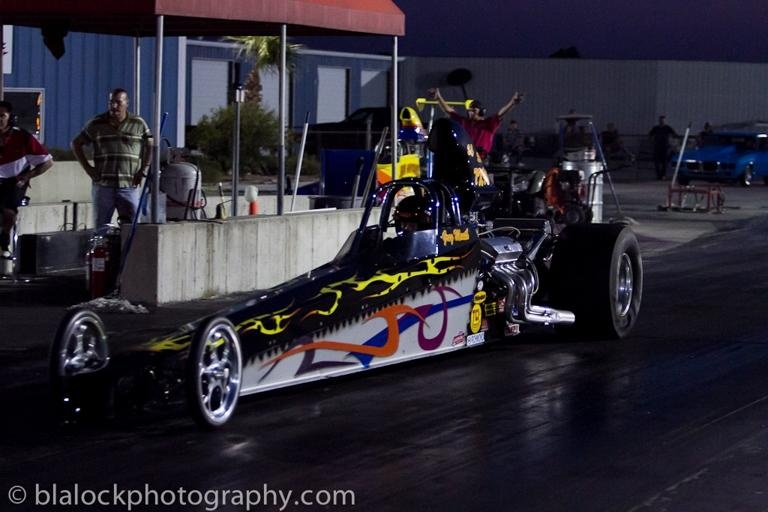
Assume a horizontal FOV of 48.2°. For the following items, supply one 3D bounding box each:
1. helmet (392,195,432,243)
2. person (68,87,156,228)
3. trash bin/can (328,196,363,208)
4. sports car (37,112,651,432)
[{"bbox_3d":[0.286,-0.411,8.487,0.327,0.385,0.381,4,-2,1],"label":"helmet"},{"bbox_3d":[-3.828,-1.383,12.299,0.994,2.570,0.851,-1,2,-21],"label":"person"},{"bbox_3d":[-0.783,-1.111,17.537,0.399,0.258,0.389,1,0,29],"label":"trash bin/can"},{"bbox_3d":[-0.012,0.185,8.091,5.971,1.806,1.301,-7,12,-38],"label":"sports car"}]
